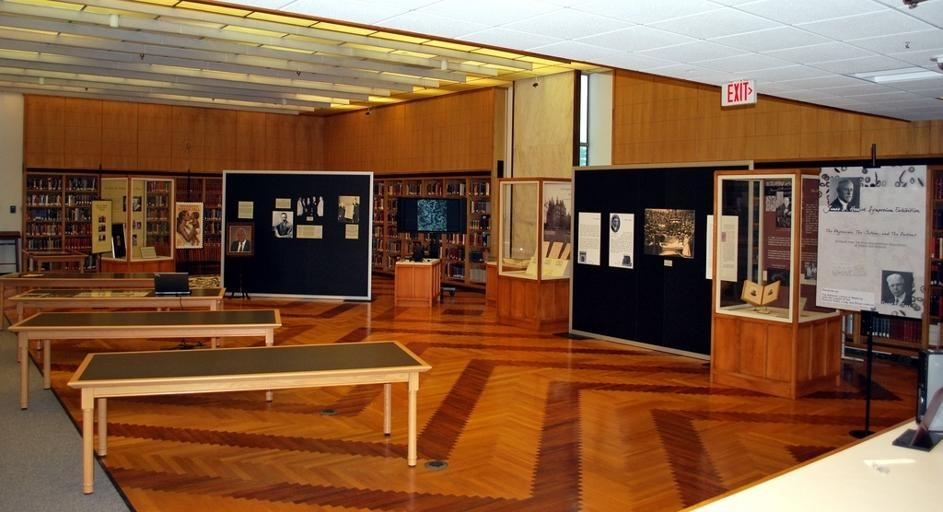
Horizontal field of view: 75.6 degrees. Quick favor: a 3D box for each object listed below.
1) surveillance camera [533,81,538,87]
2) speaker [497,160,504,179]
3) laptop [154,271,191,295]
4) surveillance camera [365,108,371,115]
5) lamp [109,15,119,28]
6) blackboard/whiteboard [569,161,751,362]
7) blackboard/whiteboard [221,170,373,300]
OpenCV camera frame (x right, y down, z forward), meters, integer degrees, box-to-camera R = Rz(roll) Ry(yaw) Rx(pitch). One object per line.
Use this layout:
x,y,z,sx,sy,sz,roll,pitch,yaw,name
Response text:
1.803,-4.951,17.396,0.134,0.144,0.168,1,14,1,surveillance camera
0.838,-2.667,18.192,0.189,0.456,0.314,7,16,23,speaker
-5.916,0.512,12.060,0.743,0.409,0.480,3,18,-11,laptop
-3.716,-5.226,21.847,0.241,0.109,0.300,0,0,-7,surveillance camera
-7.201,-4.778,12.244,0.193,0.222,0.242,-8,16,-29,lamp
3.952,0.127,12.446,0.102,3.947,4.863,-3,5,-41,blackboard/whiteboard
-4.848,-0.696,16.975,4.606,3.031,0.157,1,6,0,blackboard/whiteboard
